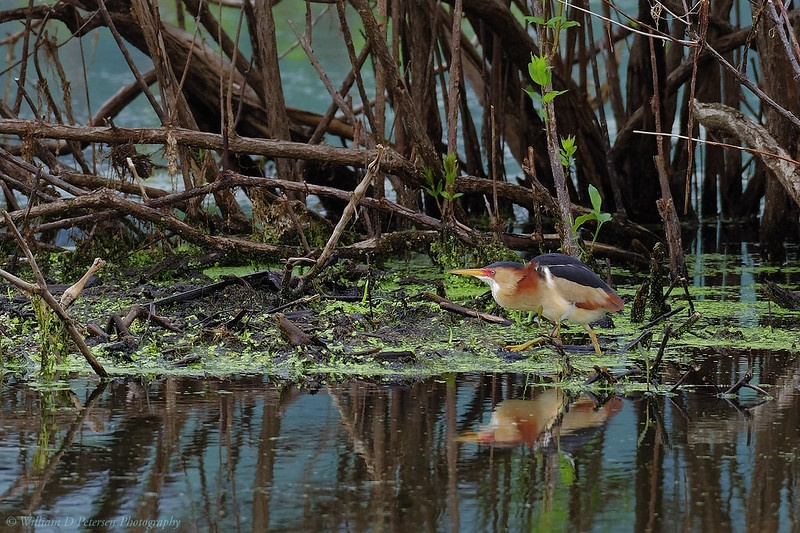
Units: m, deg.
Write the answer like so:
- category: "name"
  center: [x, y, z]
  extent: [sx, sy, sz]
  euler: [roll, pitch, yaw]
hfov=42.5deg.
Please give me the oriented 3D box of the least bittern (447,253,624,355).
- category: "least bittern"
  center: [1.055, 0.282, 7.846]
  extent: [1.556, 0.743, 0.424]
  euler: [2, -3, -21]
